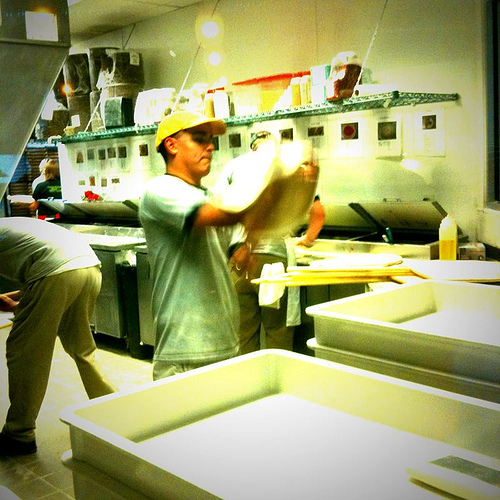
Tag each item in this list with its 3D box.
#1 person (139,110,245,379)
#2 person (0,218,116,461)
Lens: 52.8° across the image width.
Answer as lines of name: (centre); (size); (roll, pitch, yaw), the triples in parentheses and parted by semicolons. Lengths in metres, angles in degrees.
person: (-0.205, 0.000, 1.568); (0.324, 0.882, 0.534); (-5, 7, -3)
person: (-1.070, 0.437, 2.641); (0.590, 1.224, 0.281); (-7, 7, -13)
